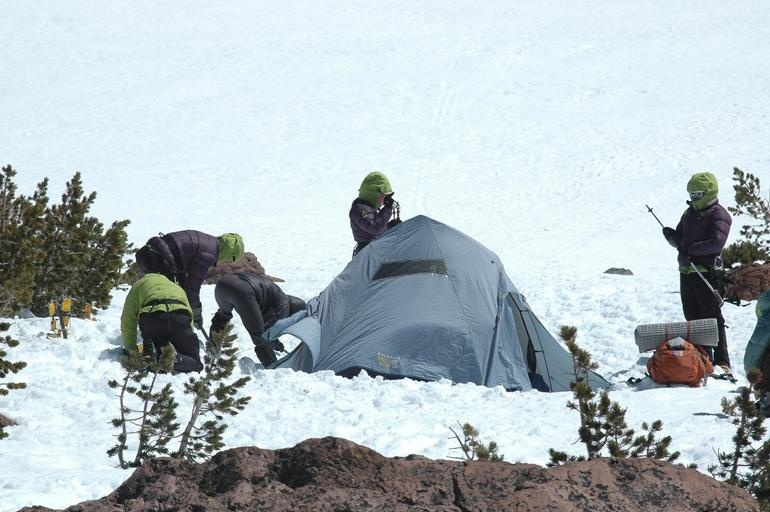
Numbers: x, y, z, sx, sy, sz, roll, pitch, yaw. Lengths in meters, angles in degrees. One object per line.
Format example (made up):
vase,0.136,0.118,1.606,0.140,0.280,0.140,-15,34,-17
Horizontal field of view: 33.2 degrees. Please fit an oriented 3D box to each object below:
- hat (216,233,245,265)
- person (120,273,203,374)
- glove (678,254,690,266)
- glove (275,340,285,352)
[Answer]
hat,-3.450,-0.191,27.914,0.656,0.614,0.482,-21,39,-27
person,-4.529,1.364,26.003,1.581,2.037,0.578,0,-9,-11
glove,6.370,0.113,27.606,0.255,0.233,0.251,-2,1,2
glove,-2.371,2.055,28.637,0.222,0.221,0.090,37,-21,-1
